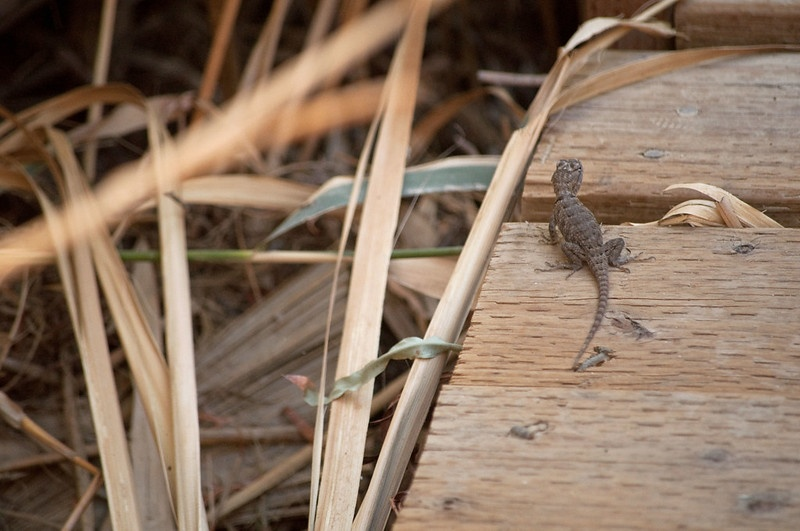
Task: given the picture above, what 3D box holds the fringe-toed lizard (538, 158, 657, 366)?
[{"bbox_3d":[0.796,-0.039,4.563,0.538,0.262,0.860,-17,37,-6],"label":"fringe-toed lizard"}]
